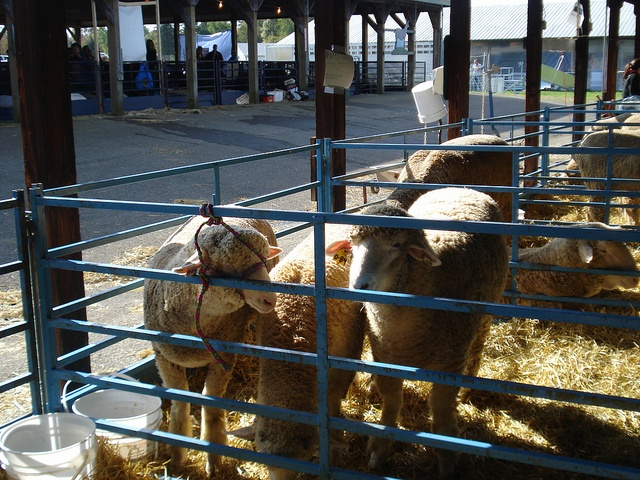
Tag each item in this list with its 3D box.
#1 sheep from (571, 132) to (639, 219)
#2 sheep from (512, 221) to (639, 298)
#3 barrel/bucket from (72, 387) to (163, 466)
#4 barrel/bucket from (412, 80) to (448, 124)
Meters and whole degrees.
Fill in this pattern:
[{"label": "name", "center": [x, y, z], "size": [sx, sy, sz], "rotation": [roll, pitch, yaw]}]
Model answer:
[{"label": "sheep", "center": [3.881, -0.853, 7.634], "size": [0.733, 1.148, 1.270], "rotation": [2, 17, 13]}, {"label": "sheep", "center": [2.070, 0.205, 4.671], "size": [0.553, 0.599, 1.038], "rotation": [-14, 20, -43]}, {"label": "barrel/bucket", "center": [-1.504, 1.323, 4.056], "size": [0.648, 0.482, 0.670], "rotation": [-1, -25, -1]}, {"label": "barrel/bucket", "center": [1.522, -1.917, 8.075], "size": [0.431, 0.571, 0.488], "rotation": [10, 20, 34]}]
